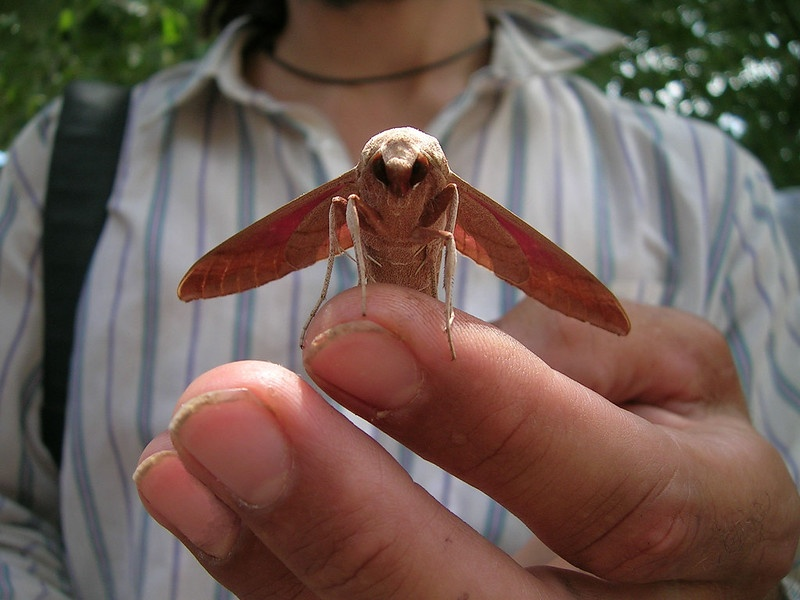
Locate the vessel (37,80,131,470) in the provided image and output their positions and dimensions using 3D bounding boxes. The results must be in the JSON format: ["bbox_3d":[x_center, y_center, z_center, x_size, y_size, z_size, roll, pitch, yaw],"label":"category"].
[{"bbox_3d":[-1.696,-0.291,4.941,0.303,2.348,0.308,4,-2,-12],"label":"vessel"}]
